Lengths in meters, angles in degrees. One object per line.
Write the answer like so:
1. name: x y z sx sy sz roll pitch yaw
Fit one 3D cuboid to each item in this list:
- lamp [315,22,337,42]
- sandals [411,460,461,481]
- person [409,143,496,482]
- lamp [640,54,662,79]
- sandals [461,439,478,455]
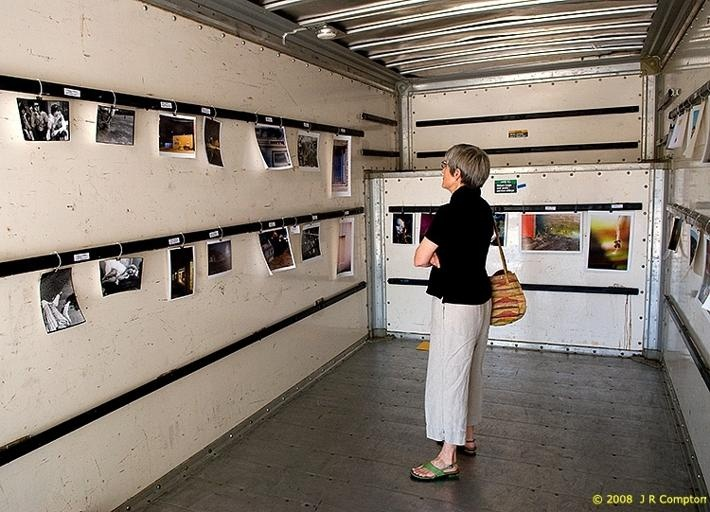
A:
1. lamp: -0.247 -1.930 4.143 0.195 0.057 0.357 -2 13 0
2. sandals: 0.558 1.460 3.329 0.290 0.091 0.133 1 -1 -4
3. person: 0.657 0.401 3.258 0.339 2.233 0.624 9 16 44
4. lamp: 3.222 -2.064 5.244 0.197 0.200 0.109 7 15 35
5. sandals: 0.851 1.419 3.623 0.076 0.109 0.159 0 10 -6
